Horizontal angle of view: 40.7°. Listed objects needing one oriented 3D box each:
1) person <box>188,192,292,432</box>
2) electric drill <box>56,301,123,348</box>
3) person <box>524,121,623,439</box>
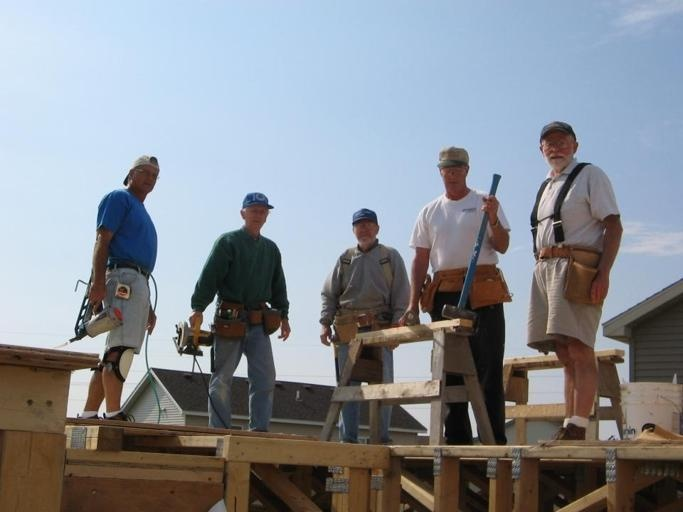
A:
[{"bbox_3d":[-0.845,0.483,8.386,0.998,2.144,0.522,7,-12,-34],"label":"person"},{"bbox_3d":[-2.035,0.587,7.233,0.594,0.193,0.169,-30,17,3],"label":"electric drill"},{"bbox_3d":[1.704,0.204,6.760,0.666,2.633,0.755,4,-7,-17],"label":"person"}]
